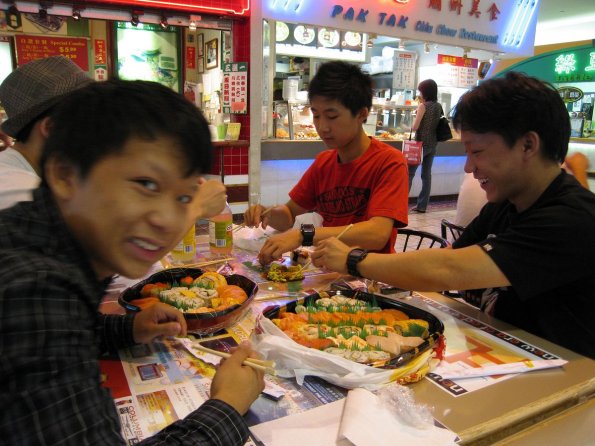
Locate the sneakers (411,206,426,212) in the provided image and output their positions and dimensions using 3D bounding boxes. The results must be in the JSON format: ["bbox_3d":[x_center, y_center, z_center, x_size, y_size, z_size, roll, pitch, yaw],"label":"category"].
[{"bbox_3d":[2.076,-0.249,6.838,0.092,0.079,0.209,-1,15,-21],"label":"sneakers"}]
